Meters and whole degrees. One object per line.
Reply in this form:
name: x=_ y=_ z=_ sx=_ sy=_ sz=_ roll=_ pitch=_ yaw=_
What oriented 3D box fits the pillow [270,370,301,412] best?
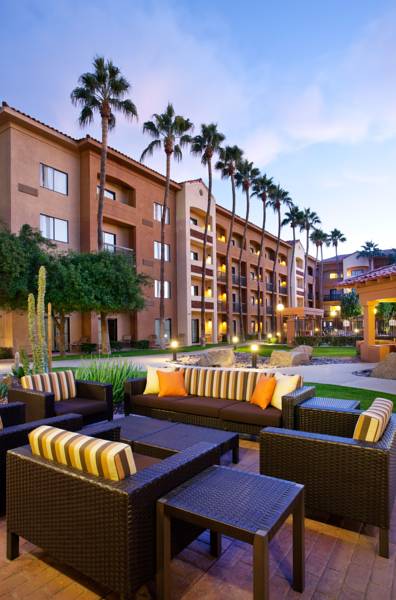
pillow: x=0.977 y=1.003 z=4.887 sx=0.183 sy=0.398 sz=0.432 roll=-2 pitch=-2 yaw=-7
